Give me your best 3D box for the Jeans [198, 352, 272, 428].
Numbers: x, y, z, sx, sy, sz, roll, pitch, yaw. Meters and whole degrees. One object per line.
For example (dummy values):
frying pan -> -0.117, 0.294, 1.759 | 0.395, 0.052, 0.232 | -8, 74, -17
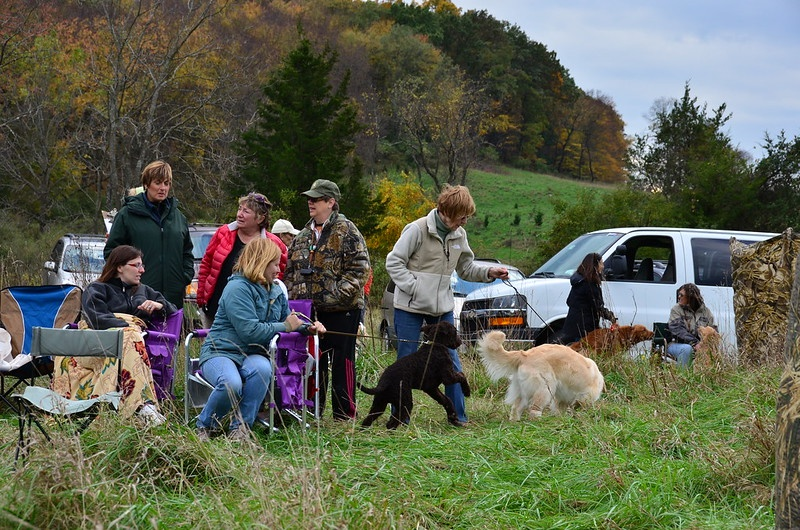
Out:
Jeans -> -1.823, 1.405, 8.698 | 0.785, 0.810, 0.487 | 2, 1, -16

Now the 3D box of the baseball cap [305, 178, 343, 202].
baseball cap -> -0.952, -0.936, 9.755 | 0.360, 0.224, 0.252 | 1, -2, -22

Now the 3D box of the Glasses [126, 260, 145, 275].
Glasses -> -3.125, 0.026, 9.260 | 0.149, 0.096, 0.121 | -2, -12, 37

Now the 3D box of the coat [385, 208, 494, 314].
coat -> 0.409, 0.114, 9.790 | 1.079, 1.601, 1.471 | -7, -11, 41

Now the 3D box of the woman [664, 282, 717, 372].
woman -> 4.242, 0.929, 11.479 | 0.581, 1.335, 0.898 | 6, -4, -4

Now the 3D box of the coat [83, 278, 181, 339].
coat -> -3.162, 0.495, 9.111 | 0.980, 0.628, 1.150 | 0, 7, 4

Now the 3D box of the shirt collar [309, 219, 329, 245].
shirt collar -> -1.026, -0.409, 9.766 | 0.190, 0.300, 0.100 | 1, -6, 29

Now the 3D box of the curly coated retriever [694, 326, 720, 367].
curly coated retriever -> 4.223, 1.113, 10.881 | 0.330, 0.446, 1.021 | 2, 1, 22

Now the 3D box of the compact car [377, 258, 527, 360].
compact car -> 0.564, 0.573, 14.043 | 1.444, 1.432, 2.524 | 0, -7, -13

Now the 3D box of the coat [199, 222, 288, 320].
coat -> -1.954, 0.055, 9.796 | 0.981, 1.194, 0.581 | 9, -9, 8

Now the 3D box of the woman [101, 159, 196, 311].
woman -> -3.130, 0.214, 10.101 | 1.077, 2.977, 0.815 | -3, 6, -36

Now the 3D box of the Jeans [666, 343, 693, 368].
Jeans -> 4.014, 1.279, 11.394 | 0.273, 0.107, 0.278 | 31, -10, 42

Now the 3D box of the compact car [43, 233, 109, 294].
compact car -> -5.594, -0.117, 13.761 | 1.178, 1.196, 2.099 | 2, -6, -27

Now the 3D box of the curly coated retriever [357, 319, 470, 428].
curly coated retriever -> 0.158, 1.307, 9.089 | 1.410, 1.118, 0.438 | -14, 14, -34

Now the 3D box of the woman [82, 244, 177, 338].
woman -> -3.169, 0.333, 9.141 | 0.923, 1.228, 0.868 | 2, -16, 6

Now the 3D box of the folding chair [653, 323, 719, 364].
folding chair -> 4.186, 1.004, 11.305 | 0.665, 0.315, 0.442 | 1, 22, 34

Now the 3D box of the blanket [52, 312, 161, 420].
blanket -> -3.205, 1.080, 8.558 | 0.966, 1.117, 0.899 | 8, -21, -15

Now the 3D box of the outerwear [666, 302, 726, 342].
outerwear -> 4.259, 0.841, 11.511 | 0.597, 0.702, 0.515 | 4, -10, -5
